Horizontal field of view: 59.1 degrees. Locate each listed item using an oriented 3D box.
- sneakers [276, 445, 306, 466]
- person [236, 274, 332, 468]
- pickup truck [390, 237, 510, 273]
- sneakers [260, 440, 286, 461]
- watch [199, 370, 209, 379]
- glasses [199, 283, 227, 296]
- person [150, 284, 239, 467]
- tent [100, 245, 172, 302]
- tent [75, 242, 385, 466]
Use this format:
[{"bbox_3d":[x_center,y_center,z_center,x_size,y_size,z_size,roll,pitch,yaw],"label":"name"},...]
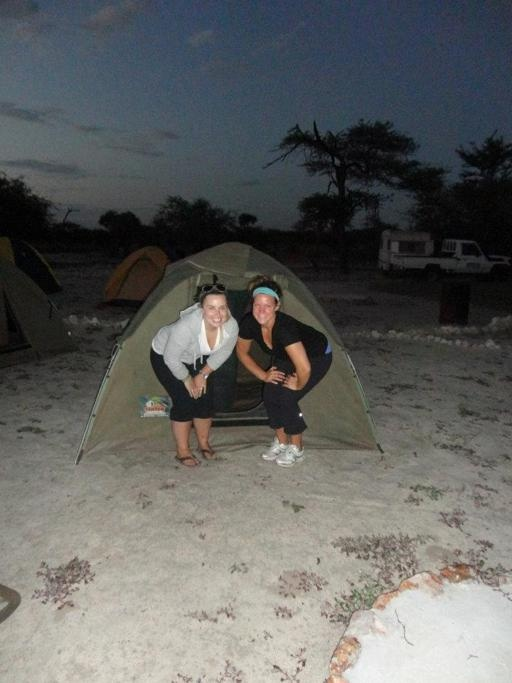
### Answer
[{"bbox_3d":[0.283,0.894,3.600,0.236,0.106,0.120,-3,8,-44],"label":"sneakers"},{"bbox_3d":[0.190,0.268,3.361,0.710,1.456,0.605,3,14,11],"label":"person"},{"bbox_3d":[7.749,-3.241,18.889,4.519,1.708,1.914,-1,33,4],"label":"pickup truck"},{"bbox_3d":[0.157,0.890,3.726,0.106,0.104,0.231,5,16,40],"label":"sneakers"},{"bbox_3d":[-0.386,0.234,3.279,0.052,0.067,0.040,0,15,-1],"label":"watch"},{"bbox_3d":[-0.279,-0.335,3.002,0.167,0.084,0.213,3,13,14],"label":"glasses"},{"bbox_3d":[-0.463,0.277,3.338,0.658,1.421,0.545,1,14,3],"label":"person"},{"bbox_3d":[-2.980,-1.608,11.219,2.130,1.001,2.039,-2,38,-7],"label":"tent"},{"bbox_3d":[-0.346,0.113,4.423,2.098,1.284,2.011,-2,25,0],"label":"tent"}]
